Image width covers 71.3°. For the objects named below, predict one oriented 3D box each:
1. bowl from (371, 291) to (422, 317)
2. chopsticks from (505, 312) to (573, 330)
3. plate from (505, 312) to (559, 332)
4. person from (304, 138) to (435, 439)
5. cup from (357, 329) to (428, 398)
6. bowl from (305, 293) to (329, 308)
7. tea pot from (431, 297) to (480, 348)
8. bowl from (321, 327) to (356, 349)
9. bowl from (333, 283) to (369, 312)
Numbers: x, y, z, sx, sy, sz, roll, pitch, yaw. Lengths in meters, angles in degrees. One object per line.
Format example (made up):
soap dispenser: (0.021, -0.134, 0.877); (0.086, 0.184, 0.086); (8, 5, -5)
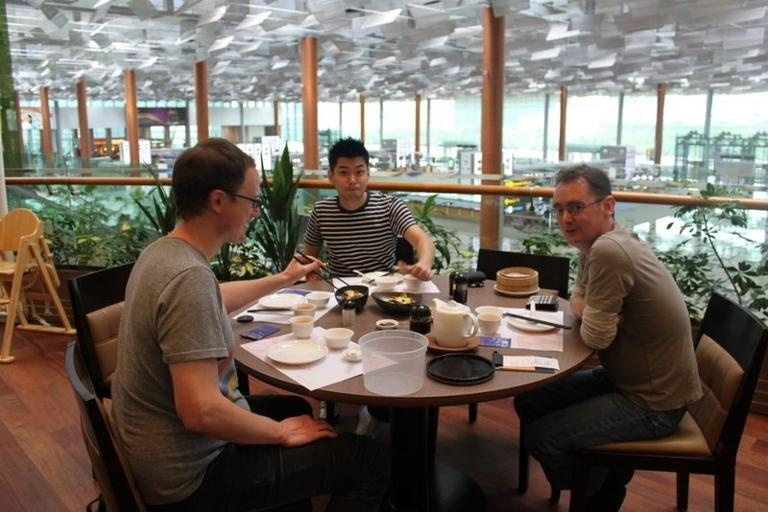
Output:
bowl: (0.057, 0.216, 2.548); (0.167, 0.052, 0.140); (5, 4, 24)
chopsticks: (0.710, 0.303, 2.481); (0.219, 0.019, 0.024); (12, 35, 23)
plate: (0.673, 0.314, 2.453); (0.149, 0.018, 0.108); (6, 9, -15)
person: (-0.143, 0.112, 3.539); (0.920, 1.637, 0.814); (0, 6, -6)
cup: (0.021, 0.389, 2.085); (0.262, 0.218, 0.264); (3, 11, -1)
bowl: (-0.327, 0.212, 2.650); (0.086, 0.040, 0.083); (-2, 10, 0)
tea pot: (0.271, 0.274, 2.284); (0.232, 0.190, 0.182); (3, 12, -29)
bowl: (-0.200, 0.342, 2.273); (0.100, 0.049, 0.095); (-3, 18, 1)
bowl: (-0.160, 0.193, 2.586); (0.143, 0.071, 0.133); (-1, 17, 0)
